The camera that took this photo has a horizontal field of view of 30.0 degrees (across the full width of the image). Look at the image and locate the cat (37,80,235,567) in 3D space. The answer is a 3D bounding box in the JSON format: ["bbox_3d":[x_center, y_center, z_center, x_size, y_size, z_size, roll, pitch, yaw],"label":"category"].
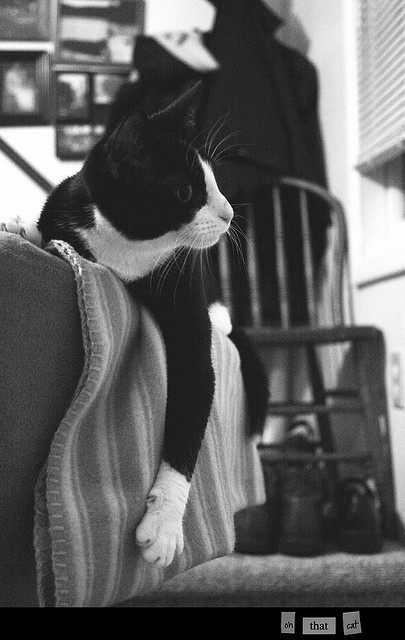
[{"bbox_3d":[-0.164,0.048,1.479,0.250,0.871,0.568,13,52,9],"label":"cat"}]

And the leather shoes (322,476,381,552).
[{"bbox_3d":[0.269,0.352,1.393,0.120,0.133,0.084,-3,-4,15],"label":"leather shoes"}]

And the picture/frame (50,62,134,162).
[{"bbox_3d":[-0.197,-0.373,1.382,0.193,0.022,0.235,1,72,2],"label":"picture/frame"}]
